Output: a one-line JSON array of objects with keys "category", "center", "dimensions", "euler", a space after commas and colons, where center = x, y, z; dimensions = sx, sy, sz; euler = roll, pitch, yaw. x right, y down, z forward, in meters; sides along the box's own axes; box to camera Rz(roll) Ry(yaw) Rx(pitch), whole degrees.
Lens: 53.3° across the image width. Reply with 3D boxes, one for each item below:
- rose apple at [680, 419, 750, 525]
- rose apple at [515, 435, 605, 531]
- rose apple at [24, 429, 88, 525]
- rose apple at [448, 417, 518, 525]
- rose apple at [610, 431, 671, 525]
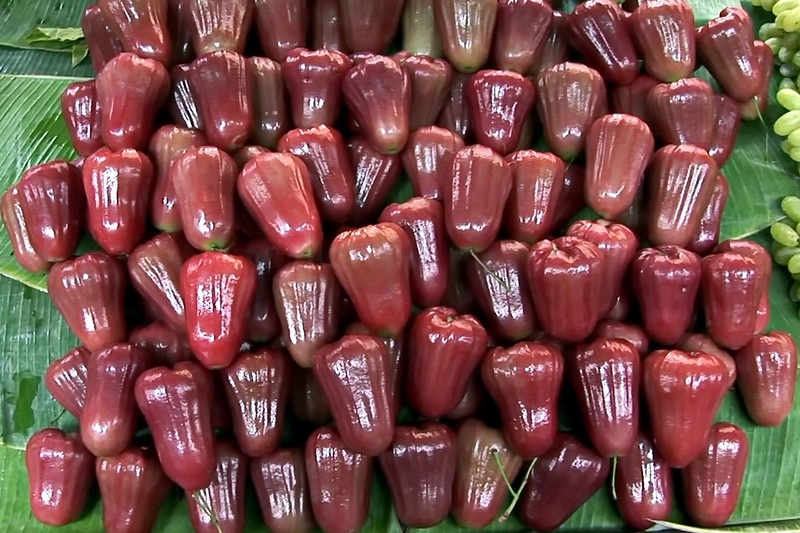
[{"category": "rose apple", "center": [0.673, 0.432, 1.681], "dimensions": [0.163, 0.194, 0.092], "euler": [-17, 26, -36]}, {"category": "rose apple", "center": [0.334, 0.448, 1.641], "dimensions": [0.169, 0.193, 0.072], "euler": [-8, 22, -16]}, {"category": "rose apple", "center": [-0.690, 0.424, 1.623], "dimensions": [0.128, 0.175, 0.095], "euler": [-12, 24, -25]}, {"category": "rose apple", "center": [0.173, 0.427, 1.627], "dimensions": [0.133, 0.188, 0.106], "euler": [7, 22, 19]}, {"category": "rose apple", "center": [0.510, 0.445, 1.690], "dimensions": [0.107, 0.202, 0.093], "euler": [0, 0, -2]}]
